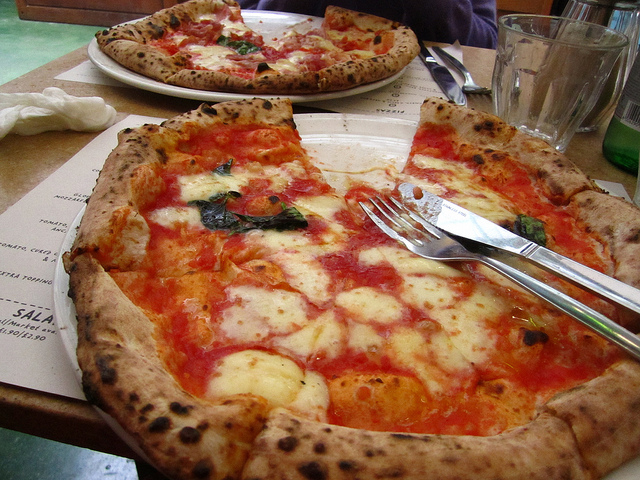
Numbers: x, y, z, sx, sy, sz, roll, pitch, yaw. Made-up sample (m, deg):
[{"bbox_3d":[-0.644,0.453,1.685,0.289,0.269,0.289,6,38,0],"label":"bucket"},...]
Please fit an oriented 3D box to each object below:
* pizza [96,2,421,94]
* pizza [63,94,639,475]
[{"bbox_3d":[-0.273,-1.084,2.838,1.588,0.169,1.484,8,38,7],"label":"pizza"},{"bbox_3d":[0.097,0.040,1.446,1.566,0.264,1.222,4,38,1],"label":"pizza"}]
